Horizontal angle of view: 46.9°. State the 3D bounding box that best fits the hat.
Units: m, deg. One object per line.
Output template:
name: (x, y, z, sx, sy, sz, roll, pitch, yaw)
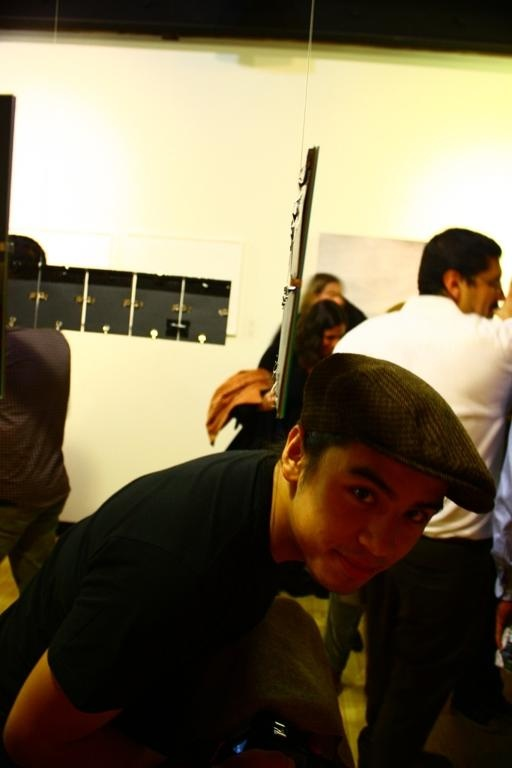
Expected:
hat: (0.222, 0.058, 0.941, 0.278, 0.154, 0.213, 23, -6, 21)
